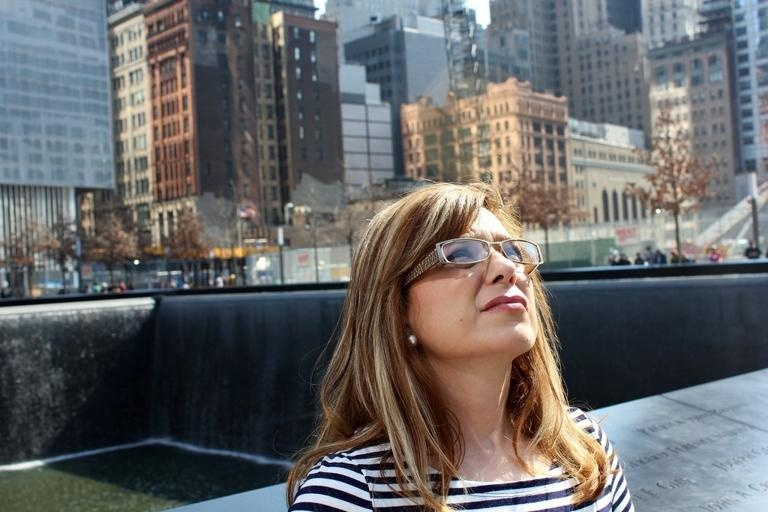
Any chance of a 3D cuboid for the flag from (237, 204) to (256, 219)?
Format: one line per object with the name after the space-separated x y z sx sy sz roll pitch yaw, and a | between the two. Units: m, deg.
-3.126 -0.995 19.006 0.332 0.130 0.356 2 42 -35 | flag
